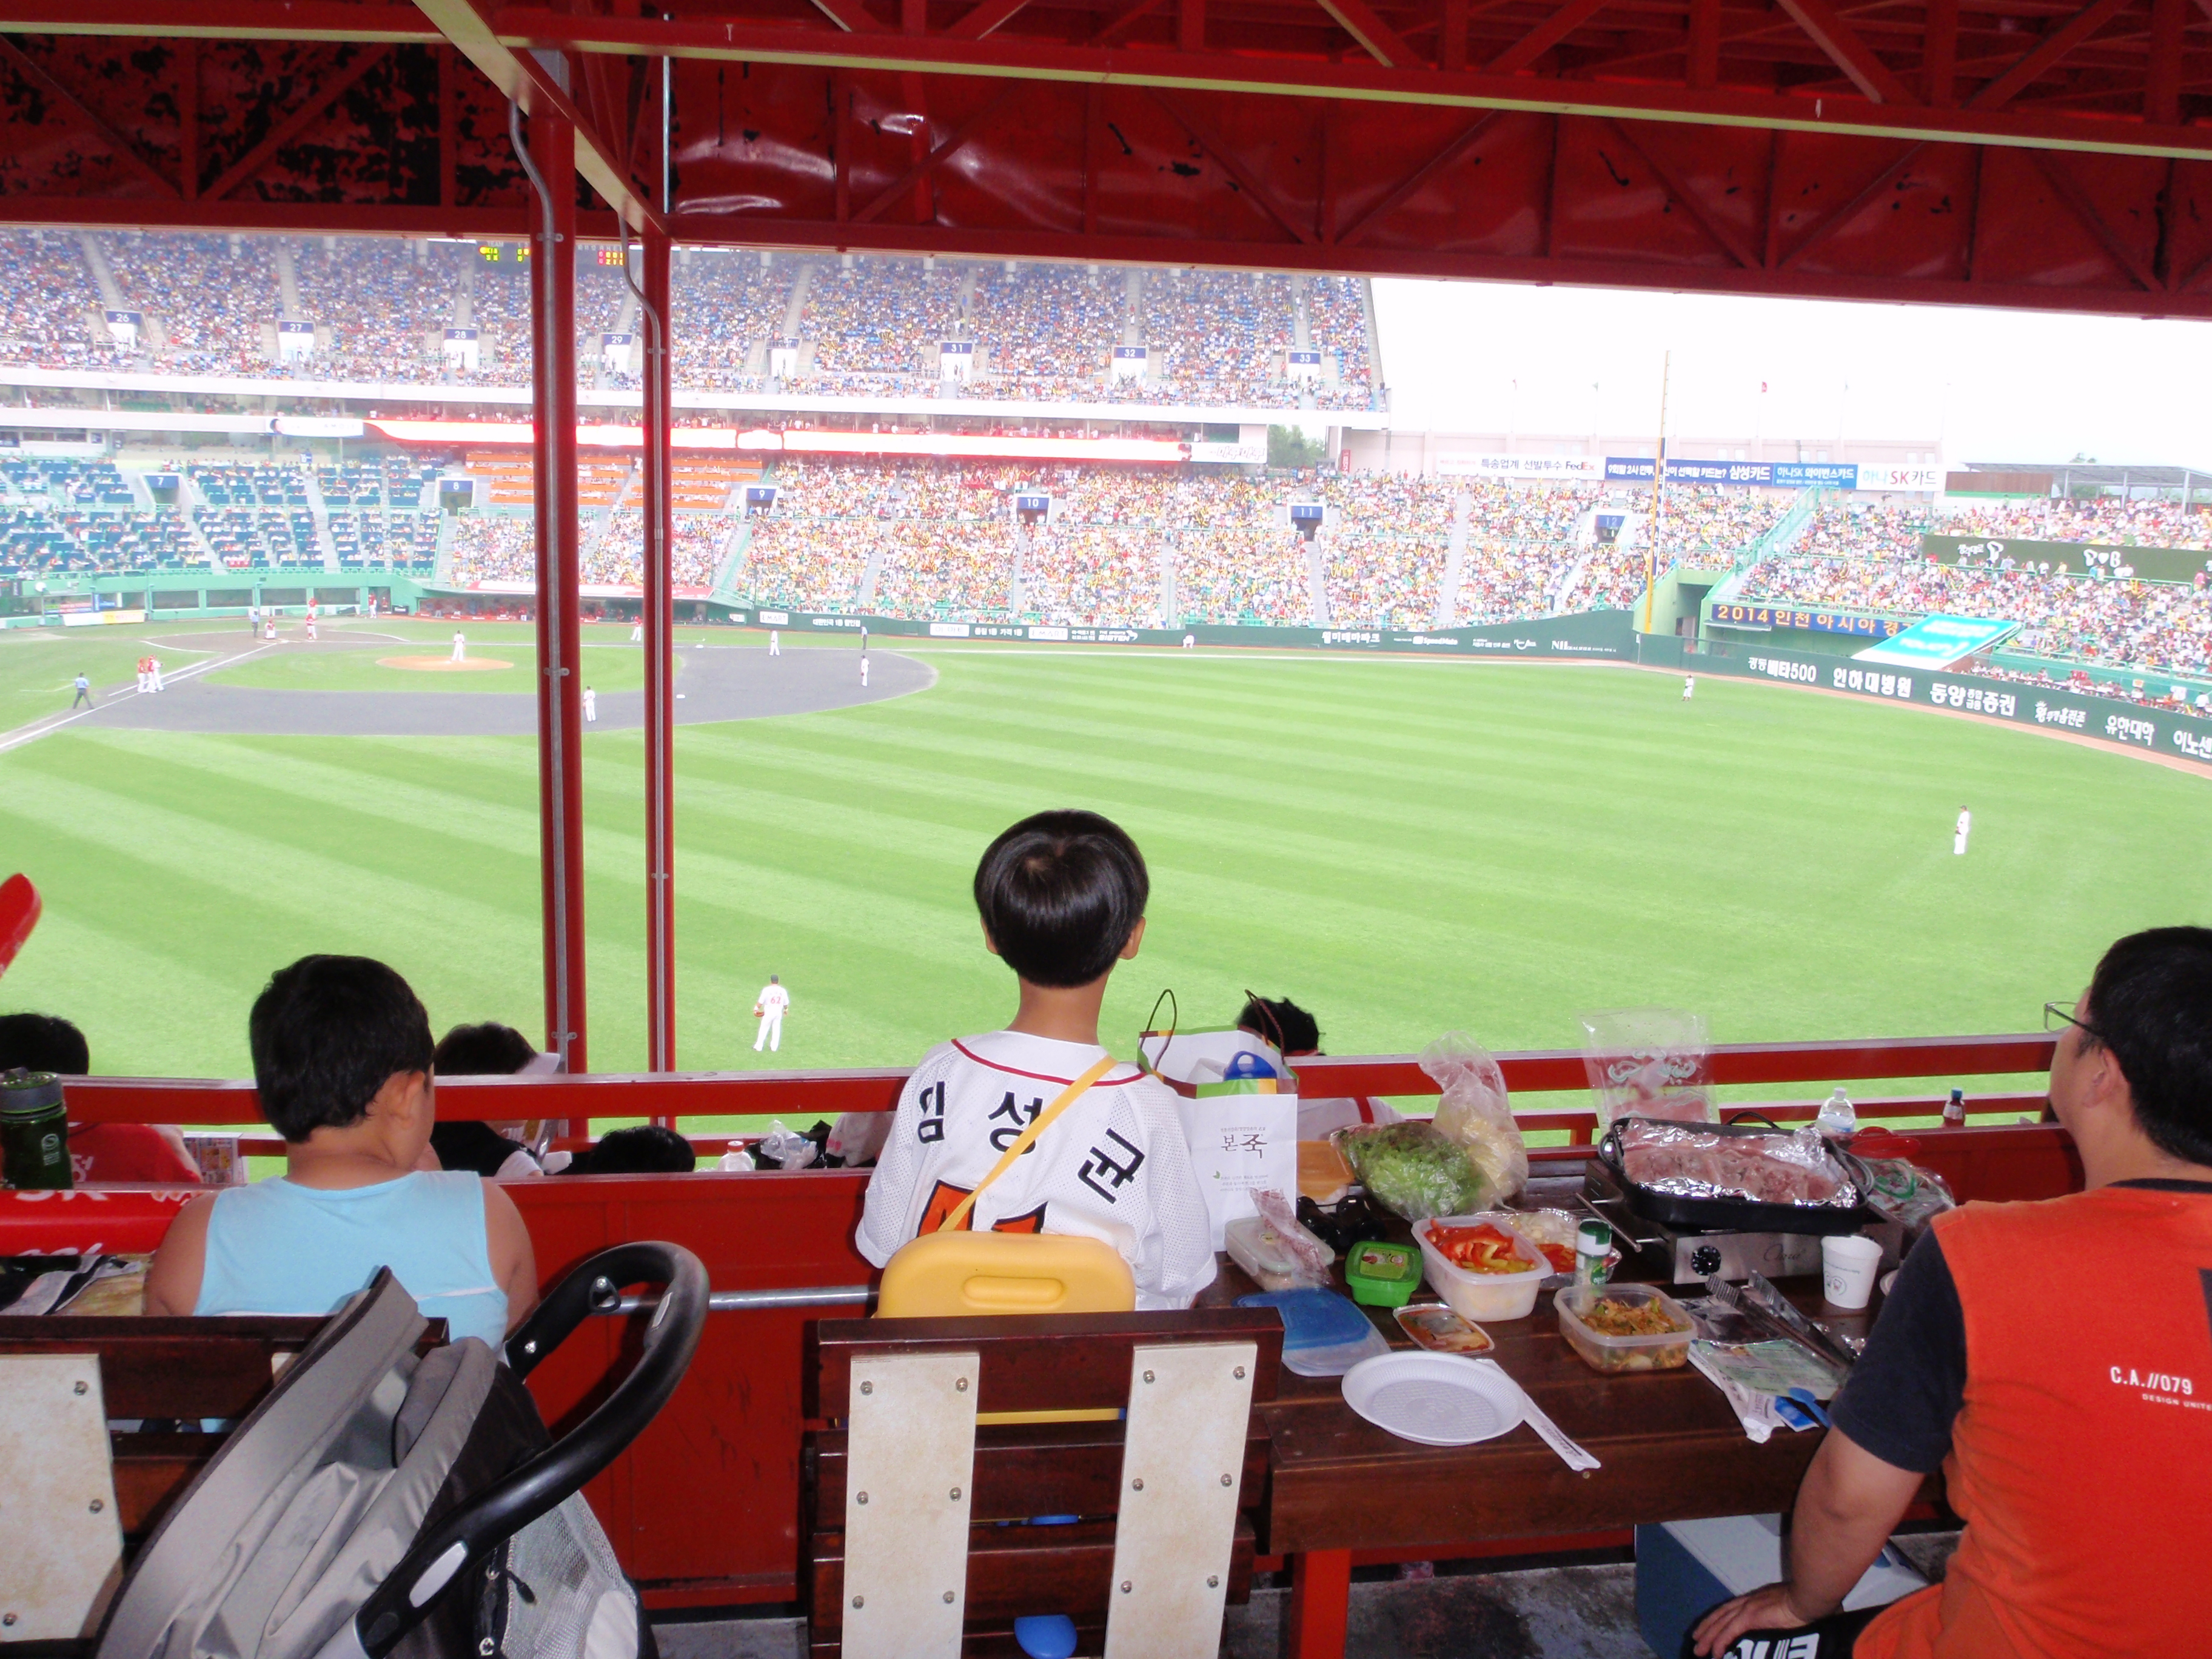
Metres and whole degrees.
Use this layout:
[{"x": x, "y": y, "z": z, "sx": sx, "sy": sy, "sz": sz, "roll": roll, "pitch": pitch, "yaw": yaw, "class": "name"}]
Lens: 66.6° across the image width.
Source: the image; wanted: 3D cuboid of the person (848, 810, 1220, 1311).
[{"x": -0.119, "y": 0.381, "z": 2.692, "sx": 0.605, "sy": 0.811, "sz": 0.318, "roll": 2, "pitch": 4, "yaw": 3, "class": "person"}]

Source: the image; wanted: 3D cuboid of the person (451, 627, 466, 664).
[{"x": -14.183, "y": -3.918, "z": 37.099, "sx": 0.272, "sy": 0.639, "sz": 2.233, "roll": 1, "pitch": 3, "yaw": -21, "class": "person"}]

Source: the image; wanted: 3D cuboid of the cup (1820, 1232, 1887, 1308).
[{"x": 1.347, "y": 0.816, "z": 3.129, "sx": 0.137, "sy": 0.103, "sz": 0.116, "roll": 5, "pitch": 9, "yaw": -1, "class": "cup"}]

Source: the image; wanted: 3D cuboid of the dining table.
[{"x": 0.690, "y": 1.044, "z": 2.732, "sx": 1.345, "sy": 0.715, "sz": 0.668, "roll": -1, "pitch": 4, "yaw": -12, "class": "dining table"}]
